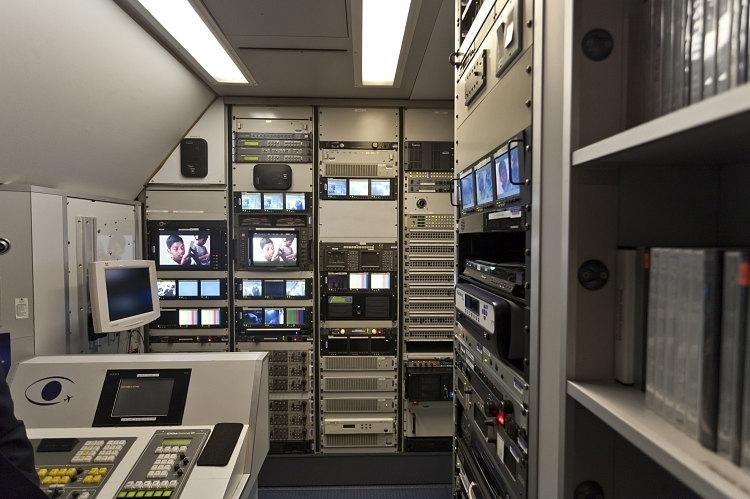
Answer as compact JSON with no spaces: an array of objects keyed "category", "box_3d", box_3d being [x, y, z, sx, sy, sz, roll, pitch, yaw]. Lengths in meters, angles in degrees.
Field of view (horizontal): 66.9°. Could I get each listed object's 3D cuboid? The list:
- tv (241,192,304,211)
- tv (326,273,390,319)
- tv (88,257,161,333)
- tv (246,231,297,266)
[{"category":"tv","box_3d":[-0.832,-0.380,4.657,0.540,0.160,0.019,-2,0,-1]},{"category":"tv","box_3d":[-0.130,0.392,4.676,0.581,0.385,0.092,-2,0,8]},{"category":"tv","box_3d":[-1.663,0.304,3.811,0.180,0.479,0.488,-2,0,13]},{"category":"tv","box_3d":[-0.835,0.010,4.657,0.457,0.339,0.256,0,-4,-2]}]
